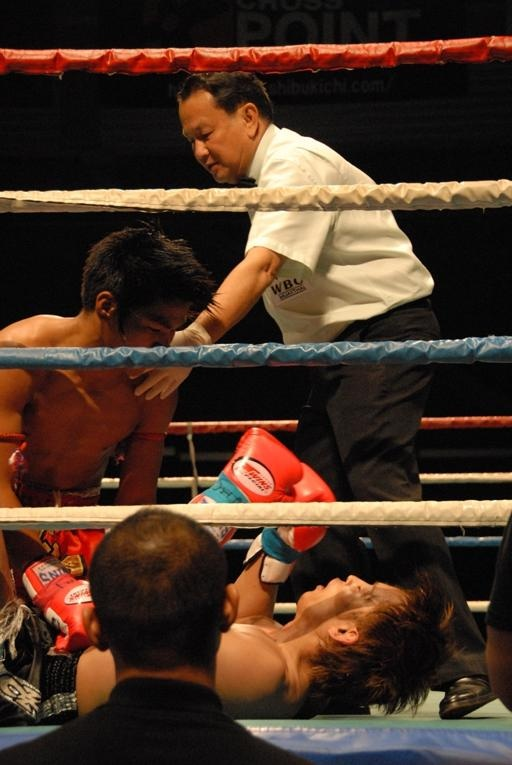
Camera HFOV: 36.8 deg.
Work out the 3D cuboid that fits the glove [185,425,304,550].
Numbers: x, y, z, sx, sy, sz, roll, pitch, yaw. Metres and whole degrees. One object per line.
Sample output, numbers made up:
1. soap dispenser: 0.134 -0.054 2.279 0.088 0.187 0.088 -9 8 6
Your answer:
1. glove: -0.029 0.232 1.712 0.190 0.099 0.295 45 67 10
